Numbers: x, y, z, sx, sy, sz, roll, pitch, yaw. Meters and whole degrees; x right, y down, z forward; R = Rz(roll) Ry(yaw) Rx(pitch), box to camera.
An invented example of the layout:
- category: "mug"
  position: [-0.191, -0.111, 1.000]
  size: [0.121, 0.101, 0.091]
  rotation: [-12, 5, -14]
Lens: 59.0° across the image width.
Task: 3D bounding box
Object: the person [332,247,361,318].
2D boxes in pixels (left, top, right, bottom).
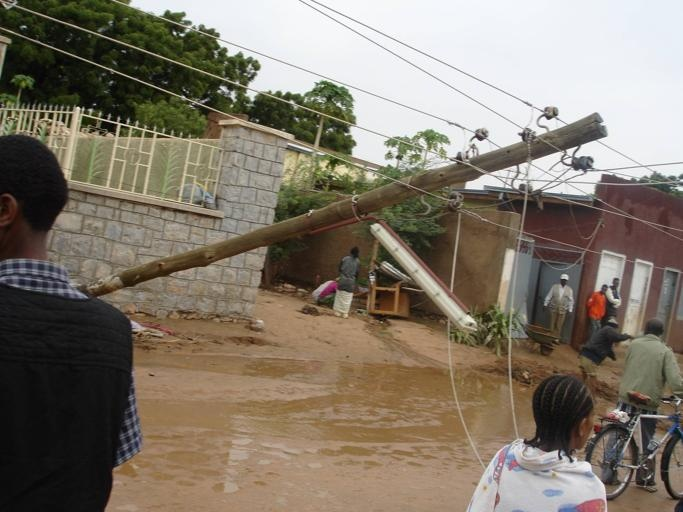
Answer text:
- category: "person"
  position: [0.149, 0.720, 16.480]
  size: [0.629, 1.920, 0.869]
  rotation: [17, 2, 0]
